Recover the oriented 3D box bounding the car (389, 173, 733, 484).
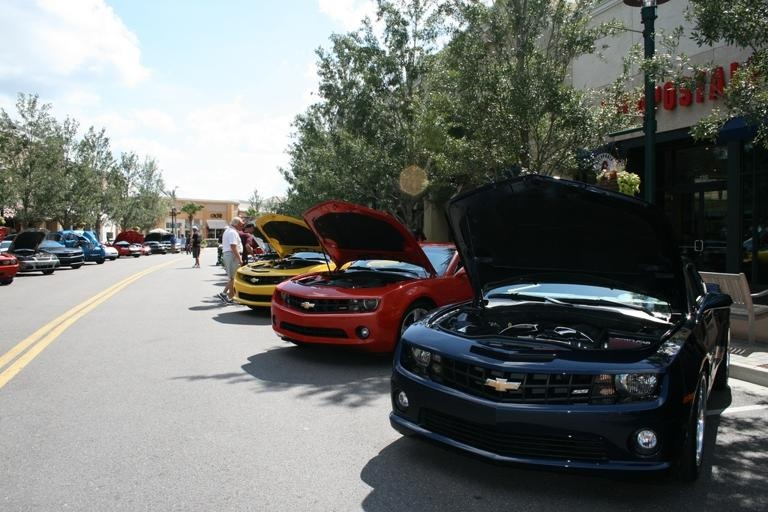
[{"bbox_3d":[2.177,0.586,4.898,2.134,1.687,3.841,0,-3,39],"label":"car"}]

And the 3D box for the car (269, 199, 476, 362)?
[{"bbox_3d":[-0.326,0.325,7.361,2.070,1.534,3.566,-1,-3,42],"label":"car"}]

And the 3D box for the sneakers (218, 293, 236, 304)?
[{"bbox_3d":[-4.238,1.170,12.622,0.201,0.479,0.157,-47,25,12],"label":"sneakers"}]
